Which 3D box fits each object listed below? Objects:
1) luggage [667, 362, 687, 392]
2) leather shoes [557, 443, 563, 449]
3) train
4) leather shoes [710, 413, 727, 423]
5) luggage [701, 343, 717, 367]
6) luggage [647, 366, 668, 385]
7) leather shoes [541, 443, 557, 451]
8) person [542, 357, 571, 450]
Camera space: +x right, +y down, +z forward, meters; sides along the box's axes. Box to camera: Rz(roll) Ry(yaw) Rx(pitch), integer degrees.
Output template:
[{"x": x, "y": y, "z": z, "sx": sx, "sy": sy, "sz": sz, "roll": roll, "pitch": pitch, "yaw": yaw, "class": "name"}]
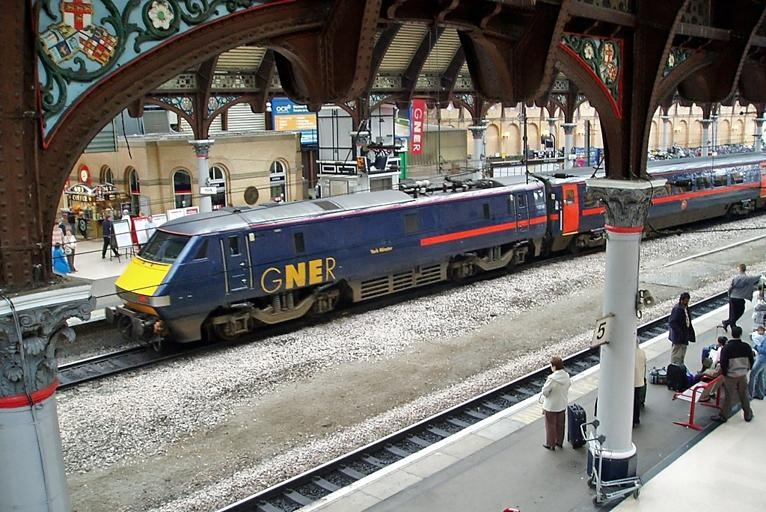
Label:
[{"x": 6.802, "y": 2.837, "z": 13.336, "sx": 0.483, "sy": 0.818, "sz": 0.416, "roll": -1, "pitch": 15, "yaw": 34, "class": "luggage"}, {"x": 3.513, "y": 3.790, "z": 11.428, "sx": 0.049, "sy": 0.063, "sz": 0.154, "roll": 2, "pitch": 11, "yaw": 5, "class": "leather shoes"}, {"x": 1.225, "y": -0.604, "z": 21.859, "sx": 21.664, "sy": 4.263, "sz": 2.597, "roll": -11, "pitch": 15, "yaw": -30, "class": "train"}, {"x": 7.067, "y": 3.429, "z": 12.121, "sx": 0.133, "sy": 0.105, "sz": 0.247, "roll": -7, "pitch": 9, "yaw": -42, "class": "leather shoes"}, {"x": 7.881, "y": 2.426, "z": 13.927, "sx": 0.430, "sy": 0.169, "sz": 0.446, "roll": -15, "pitch": 7, "yaw": 33, "class": "luggage"}, {"x": 6.592, "y": 2.861, "z": 13.874, "sx": 0.370, "sy": 0.143, "sz": 0.383, "roll": -1, "pitch": 10, "yaw": 22, "class": "luggage"}, {"x": 3.280, "y": 3.805, "z": 11.384, "sx": 0.088, "sy": 0.115, "sz": 0.257, "roll": -6, "pitch": 17, "yaw": -34, "class": "leather shoes"}, {"x": 3.378, "y": 2.877, "z": 11.332, "sx": 0.600, "sy": 1.874, "sz": 0.437, "roll": -14, "pitch": 16, "yaw": -39, "class": "person"}]
